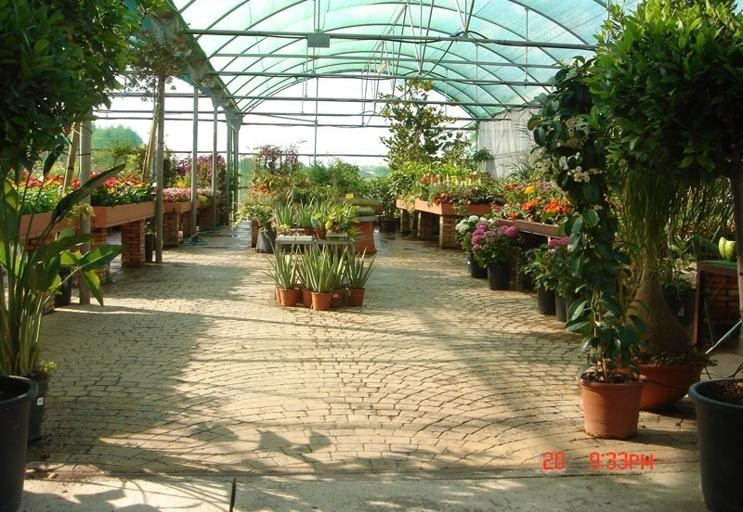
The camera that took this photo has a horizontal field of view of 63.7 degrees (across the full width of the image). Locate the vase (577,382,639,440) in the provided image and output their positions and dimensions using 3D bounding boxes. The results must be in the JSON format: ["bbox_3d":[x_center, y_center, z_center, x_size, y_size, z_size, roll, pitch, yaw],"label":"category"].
[{"bbox_3d":[1.689,1.055,4.057,0.524,0.326,0.488,16,-18,-33],"label":"vase"}]
